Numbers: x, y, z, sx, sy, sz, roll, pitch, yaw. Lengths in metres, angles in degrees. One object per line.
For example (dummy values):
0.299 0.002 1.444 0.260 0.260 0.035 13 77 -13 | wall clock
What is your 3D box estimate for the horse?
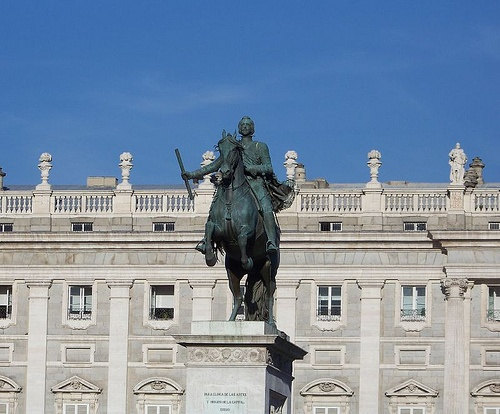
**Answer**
-0.357 0.651 67.043 1.329 5.888 2.310 -7 -11 33 | horse
